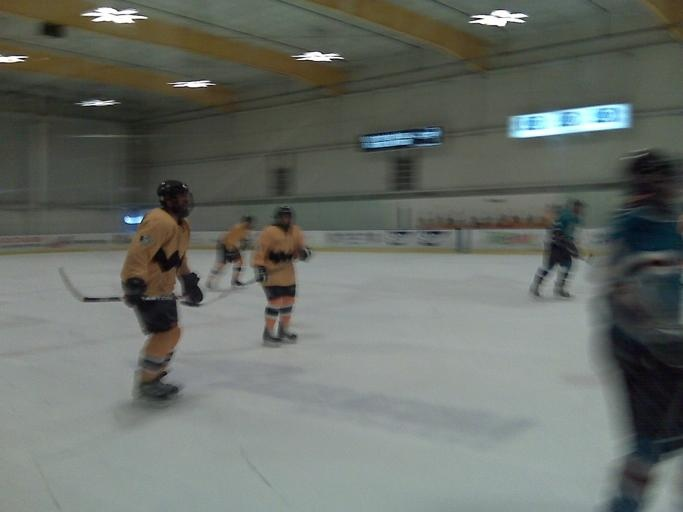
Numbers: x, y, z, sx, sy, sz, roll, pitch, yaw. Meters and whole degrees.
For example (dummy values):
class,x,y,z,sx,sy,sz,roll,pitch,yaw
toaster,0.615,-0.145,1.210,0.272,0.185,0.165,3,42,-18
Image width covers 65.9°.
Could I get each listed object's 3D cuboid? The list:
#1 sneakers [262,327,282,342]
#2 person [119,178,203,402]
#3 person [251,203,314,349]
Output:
class,x,y,z,sx,sy,sz,roll,pitch,yaw
sneakers,-0.637,0.741,4.899,0.166,0.142,0.135,-1,9,-9
person,-1.167,0.237,3.501,0.330,1.479,0.643,2,9,7
person,-0.557,0.178,4.962,0.307,1.280,0.579,7,11,33
